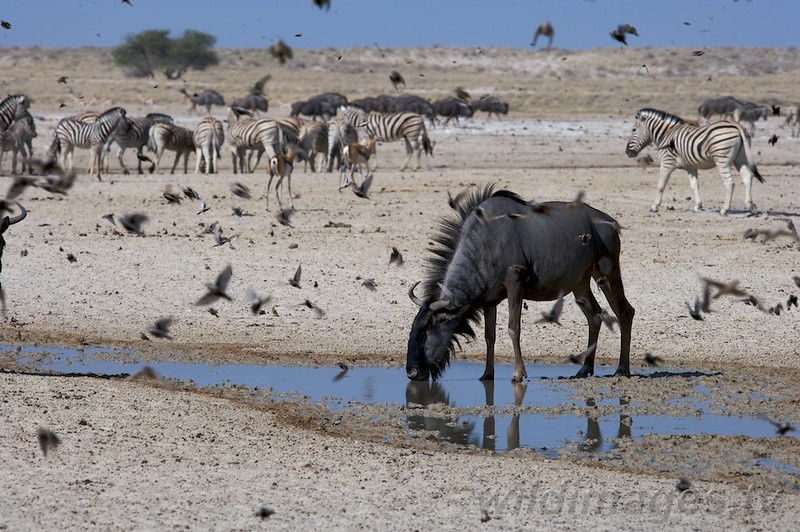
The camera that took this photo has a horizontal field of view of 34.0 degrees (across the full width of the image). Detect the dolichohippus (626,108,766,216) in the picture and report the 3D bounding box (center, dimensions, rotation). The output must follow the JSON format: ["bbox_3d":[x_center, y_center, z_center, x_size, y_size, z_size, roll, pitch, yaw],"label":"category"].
[{"bbox_3d":[6.248,-2.246,28.309,0.899,2.365,3.492,-5,5,-41],"label":"dolichohippus"}]
